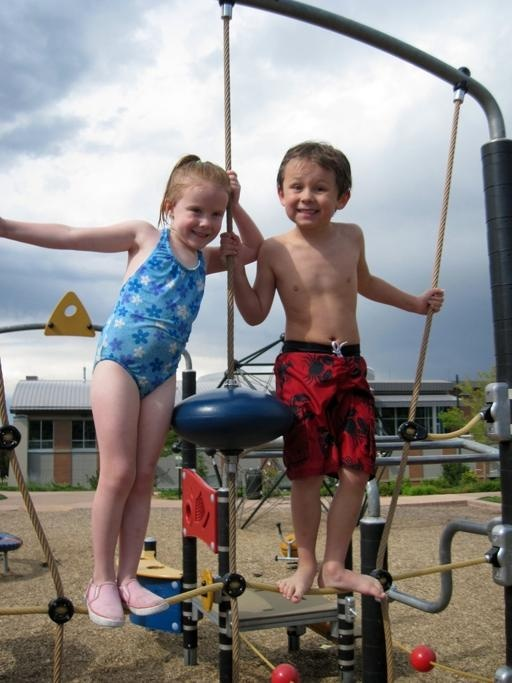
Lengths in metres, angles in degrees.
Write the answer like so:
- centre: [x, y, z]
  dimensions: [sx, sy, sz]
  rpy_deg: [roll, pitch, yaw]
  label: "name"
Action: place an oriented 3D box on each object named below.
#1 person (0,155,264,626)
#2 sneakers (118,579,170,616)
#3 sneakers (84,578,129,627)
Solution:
- centre: [-0.364, 0.126, 2.581]
  dimensions: [0.840, 1.707, 0.554]
  rpy_deg: [-2, 2, -43]
  label: "person"
- centre: [-0.372, 0.848, 2.394]
  dimensions: [0.084, 0.070, 0.214]
  rpy_deg: [4, -8, -34]
  label: "sneakers"
- centre: [-0.480, 0.839, 2.297]
  dimensions: [0.089, 0.079, 0.208]
  rpy_deg: [5, -10, -23]
  label: "sneakers"
